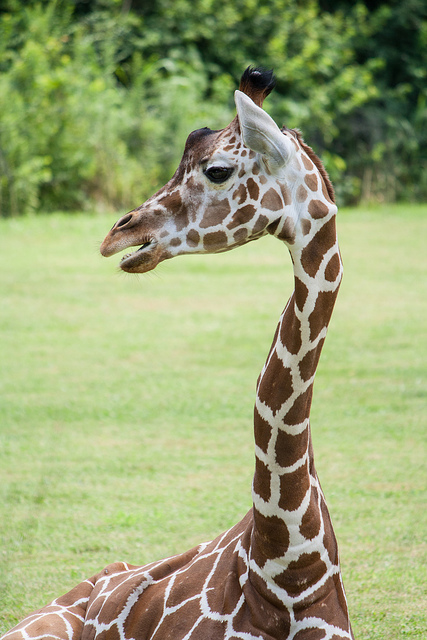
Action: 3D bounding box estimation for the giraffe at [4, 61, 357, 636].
[{"bbox_3d":[-0.005,0.160,2.535,0.782,1.412,0.361,4,12,8],"label":"giraffe"}]
